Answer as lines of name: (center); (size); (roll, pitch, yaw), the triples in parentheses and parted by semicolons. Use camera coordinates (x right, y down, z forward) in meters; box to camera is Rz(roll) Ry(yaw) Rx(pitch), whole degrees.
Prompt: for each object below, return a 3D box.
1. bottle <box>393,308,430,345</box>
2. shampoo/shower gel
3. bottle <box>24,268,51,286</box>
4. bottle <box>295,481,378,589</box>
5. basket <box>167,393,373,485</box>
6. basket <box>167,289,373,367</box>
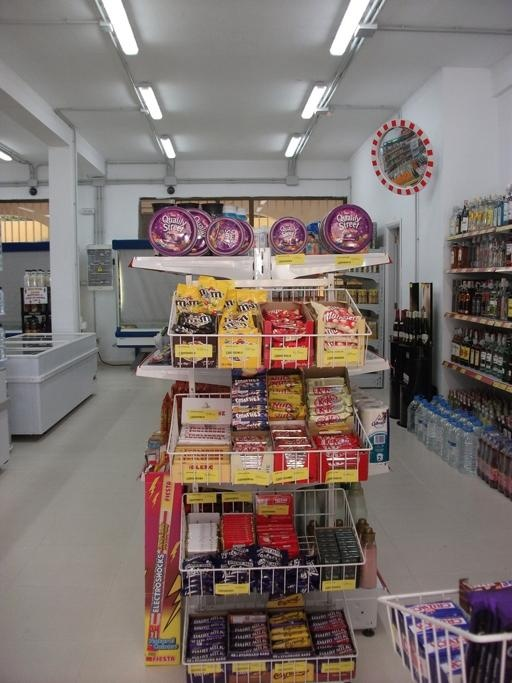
bottle: (1.523, -0.140, 5.102); (0.320, 0.402, 0.301); (-1, 4, 0)
shampoo/shower gel: (0.304, 0.735, 1.799); (0.192, 0.104, 0.261); (-1, 4, -1)
bottle: (-3.423, -0.989, 8.032); (0.356, 0.269, 0.530); (-5, 8, -41)
bottle: (0.303, 0.732, 1.930); (0.264, 0.144, 0.441); (-2, 13, -2)
basket: (0.031, 0.423, 1.885); (0.687, 0.377, 0.531); (-1, 6, -6)
basket: (0.023, -0.061, 1.846); (0.652, 0.282, 0.453); (-1, 6, -6)
